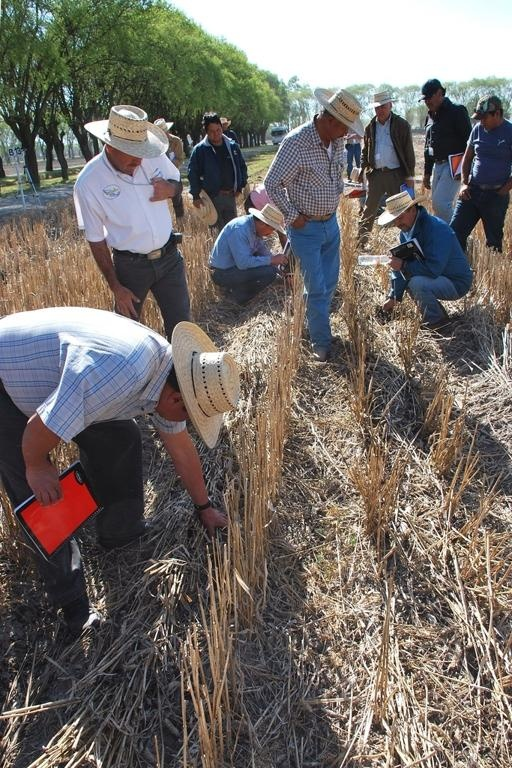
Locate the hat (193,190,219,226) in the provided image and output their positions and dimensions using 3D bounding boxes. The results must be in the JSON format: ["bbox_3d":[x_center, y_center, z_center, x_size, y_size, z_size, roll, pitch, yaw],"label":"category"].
[{"bbox_3d":[-0.486,-1.789,5.980,0.068,0.262,0.248,-27,17,-20],"label":"hat"}]

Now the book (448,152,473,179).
[{"bbox_3d":[1.787,-1.910,5.123,0.198,0.204,0.050,-21,32,-39],"label":"book"}]

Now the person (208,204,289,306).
[{"bbox_3d":[-0.033,-1.072,5.231,0.689,1.070,0.542,15,24,17],"label":"person"}]

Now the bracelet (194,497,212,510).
[{"bbox_3d":[-0.191,0.446,2.206,0.042,0.051,0.024,-4,0,-43],"label":"bracelet"}]

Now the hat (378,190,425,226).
[{"bbox_3d":[0.959,-1.165,3.915,0.202,0.257,0.362,-10,31,-17],"label":"hat"}]

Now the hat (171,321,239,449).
[{"bbox_3d":[-0.147,0.024,1.827,0.130,0.378,0.328,-6,22,17],"label":"hat"}]

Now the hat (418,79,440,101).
[{"bbox_3d":[1.544,-2.570,5.122,0.187,0.171,0.356,8,31,14],"label":"hat"}]

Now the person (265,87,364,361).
[{"bbox_3d":[0.338,-0.953,3.610,0.559,1.559,0.532,-5,29,-9],"label":"person"}]

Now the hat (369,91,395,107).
[{"bbox_3d":[1.177,-2.615,5.411,0.178,0.150,0.338,4,30,7],"label":"hat"}]

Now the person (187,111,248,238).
[{"bbox_3d":[-0.359,-1.980,6.030,0.592,1.459,0.383,-16,19,-23],"label":"person"}]

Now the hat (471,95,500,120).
[{"bbox_3d":[1.817,-2.158,4.627,0.243,0.148,0.179,3,51,16],"label":"hat"}]

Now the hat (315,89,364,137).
[{"bbox_3d":[0.480,-1.543,3.321,0.265,0.248,0.465,0,30,0],"label":"hat"}]

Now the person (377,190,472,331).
[{"bbox_3d":[1.195,-0.910,4.127,0.609,0.896,0.593,13,25,42],"label":"person"}]

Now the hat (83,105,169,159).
[{"bbox_3d":[-0.609,-1.181,2.705,0.393,0.152,0.377,20,31,-1],"label":"hat"}]

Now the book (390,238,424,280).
[{"bbox_3d":[1.015,-0.857,3.917,0.219,0.214,0.051,26,64,35],"label":"book"}]
